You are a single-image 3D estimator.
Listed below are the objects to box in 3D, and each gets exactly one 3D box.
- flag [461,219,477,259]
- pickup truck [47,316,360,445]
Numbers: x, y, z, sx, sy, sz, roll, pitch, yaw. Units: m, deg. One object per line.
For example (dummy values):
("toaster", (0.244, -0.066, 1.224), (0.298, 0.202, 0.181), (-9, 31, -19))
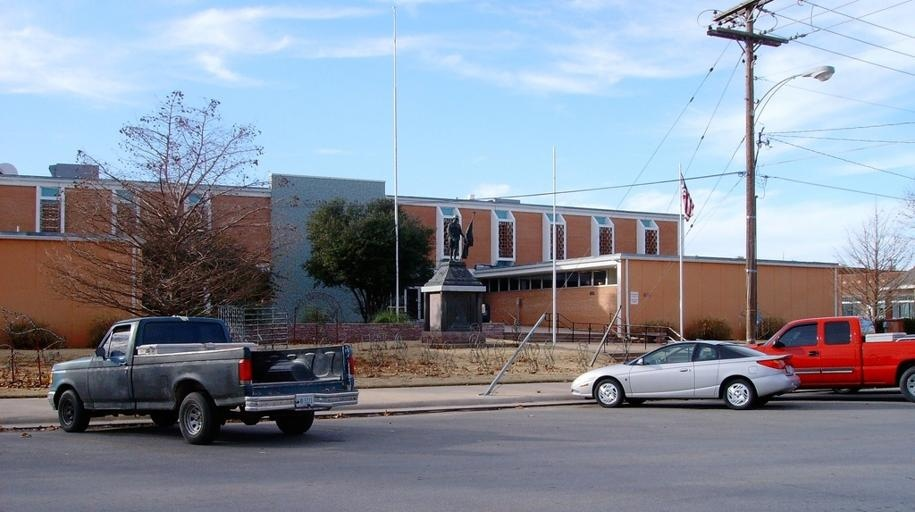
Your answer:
("flag", (0.659, -0.940, 69.595), (0.908, 0.758, 3.339), (12, -18, 1))
("pickup truck", (-8.142, 3.780, 33.687), (8.764, 2.801, 3.960), (-2, -6, 34))
